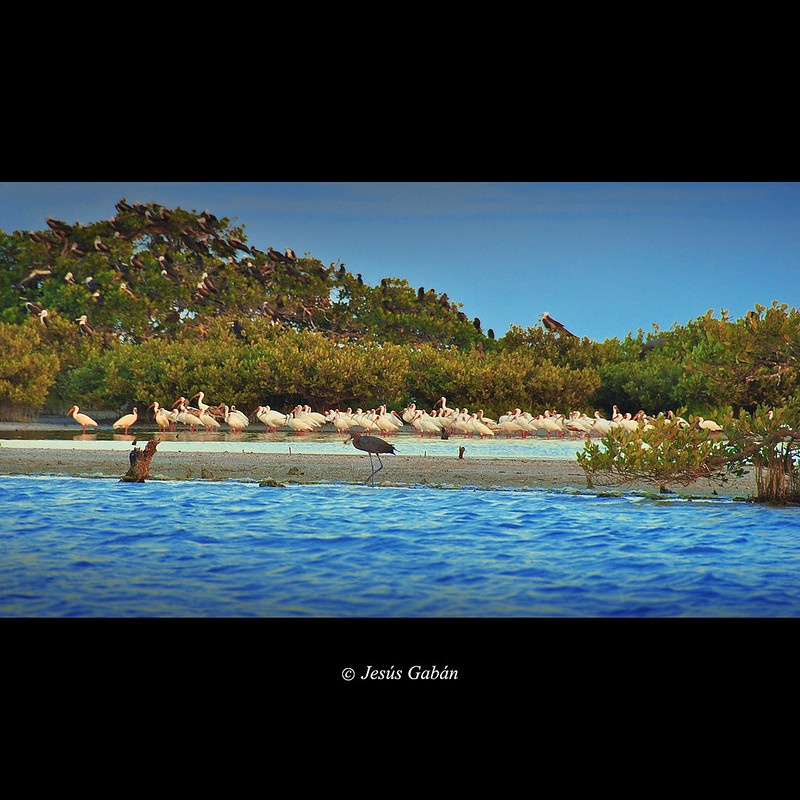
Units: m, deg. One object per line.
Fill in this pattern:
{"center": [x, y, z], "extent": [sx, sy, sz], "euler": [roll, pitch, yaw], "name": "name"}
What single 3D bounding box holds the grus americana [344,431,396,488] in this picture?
{"center": [-0.577, 1.171, 20.531], "extent": [0.976, 1.245, 0.323], "euler": [-1, -37, -10], "name": "grus americana"}
